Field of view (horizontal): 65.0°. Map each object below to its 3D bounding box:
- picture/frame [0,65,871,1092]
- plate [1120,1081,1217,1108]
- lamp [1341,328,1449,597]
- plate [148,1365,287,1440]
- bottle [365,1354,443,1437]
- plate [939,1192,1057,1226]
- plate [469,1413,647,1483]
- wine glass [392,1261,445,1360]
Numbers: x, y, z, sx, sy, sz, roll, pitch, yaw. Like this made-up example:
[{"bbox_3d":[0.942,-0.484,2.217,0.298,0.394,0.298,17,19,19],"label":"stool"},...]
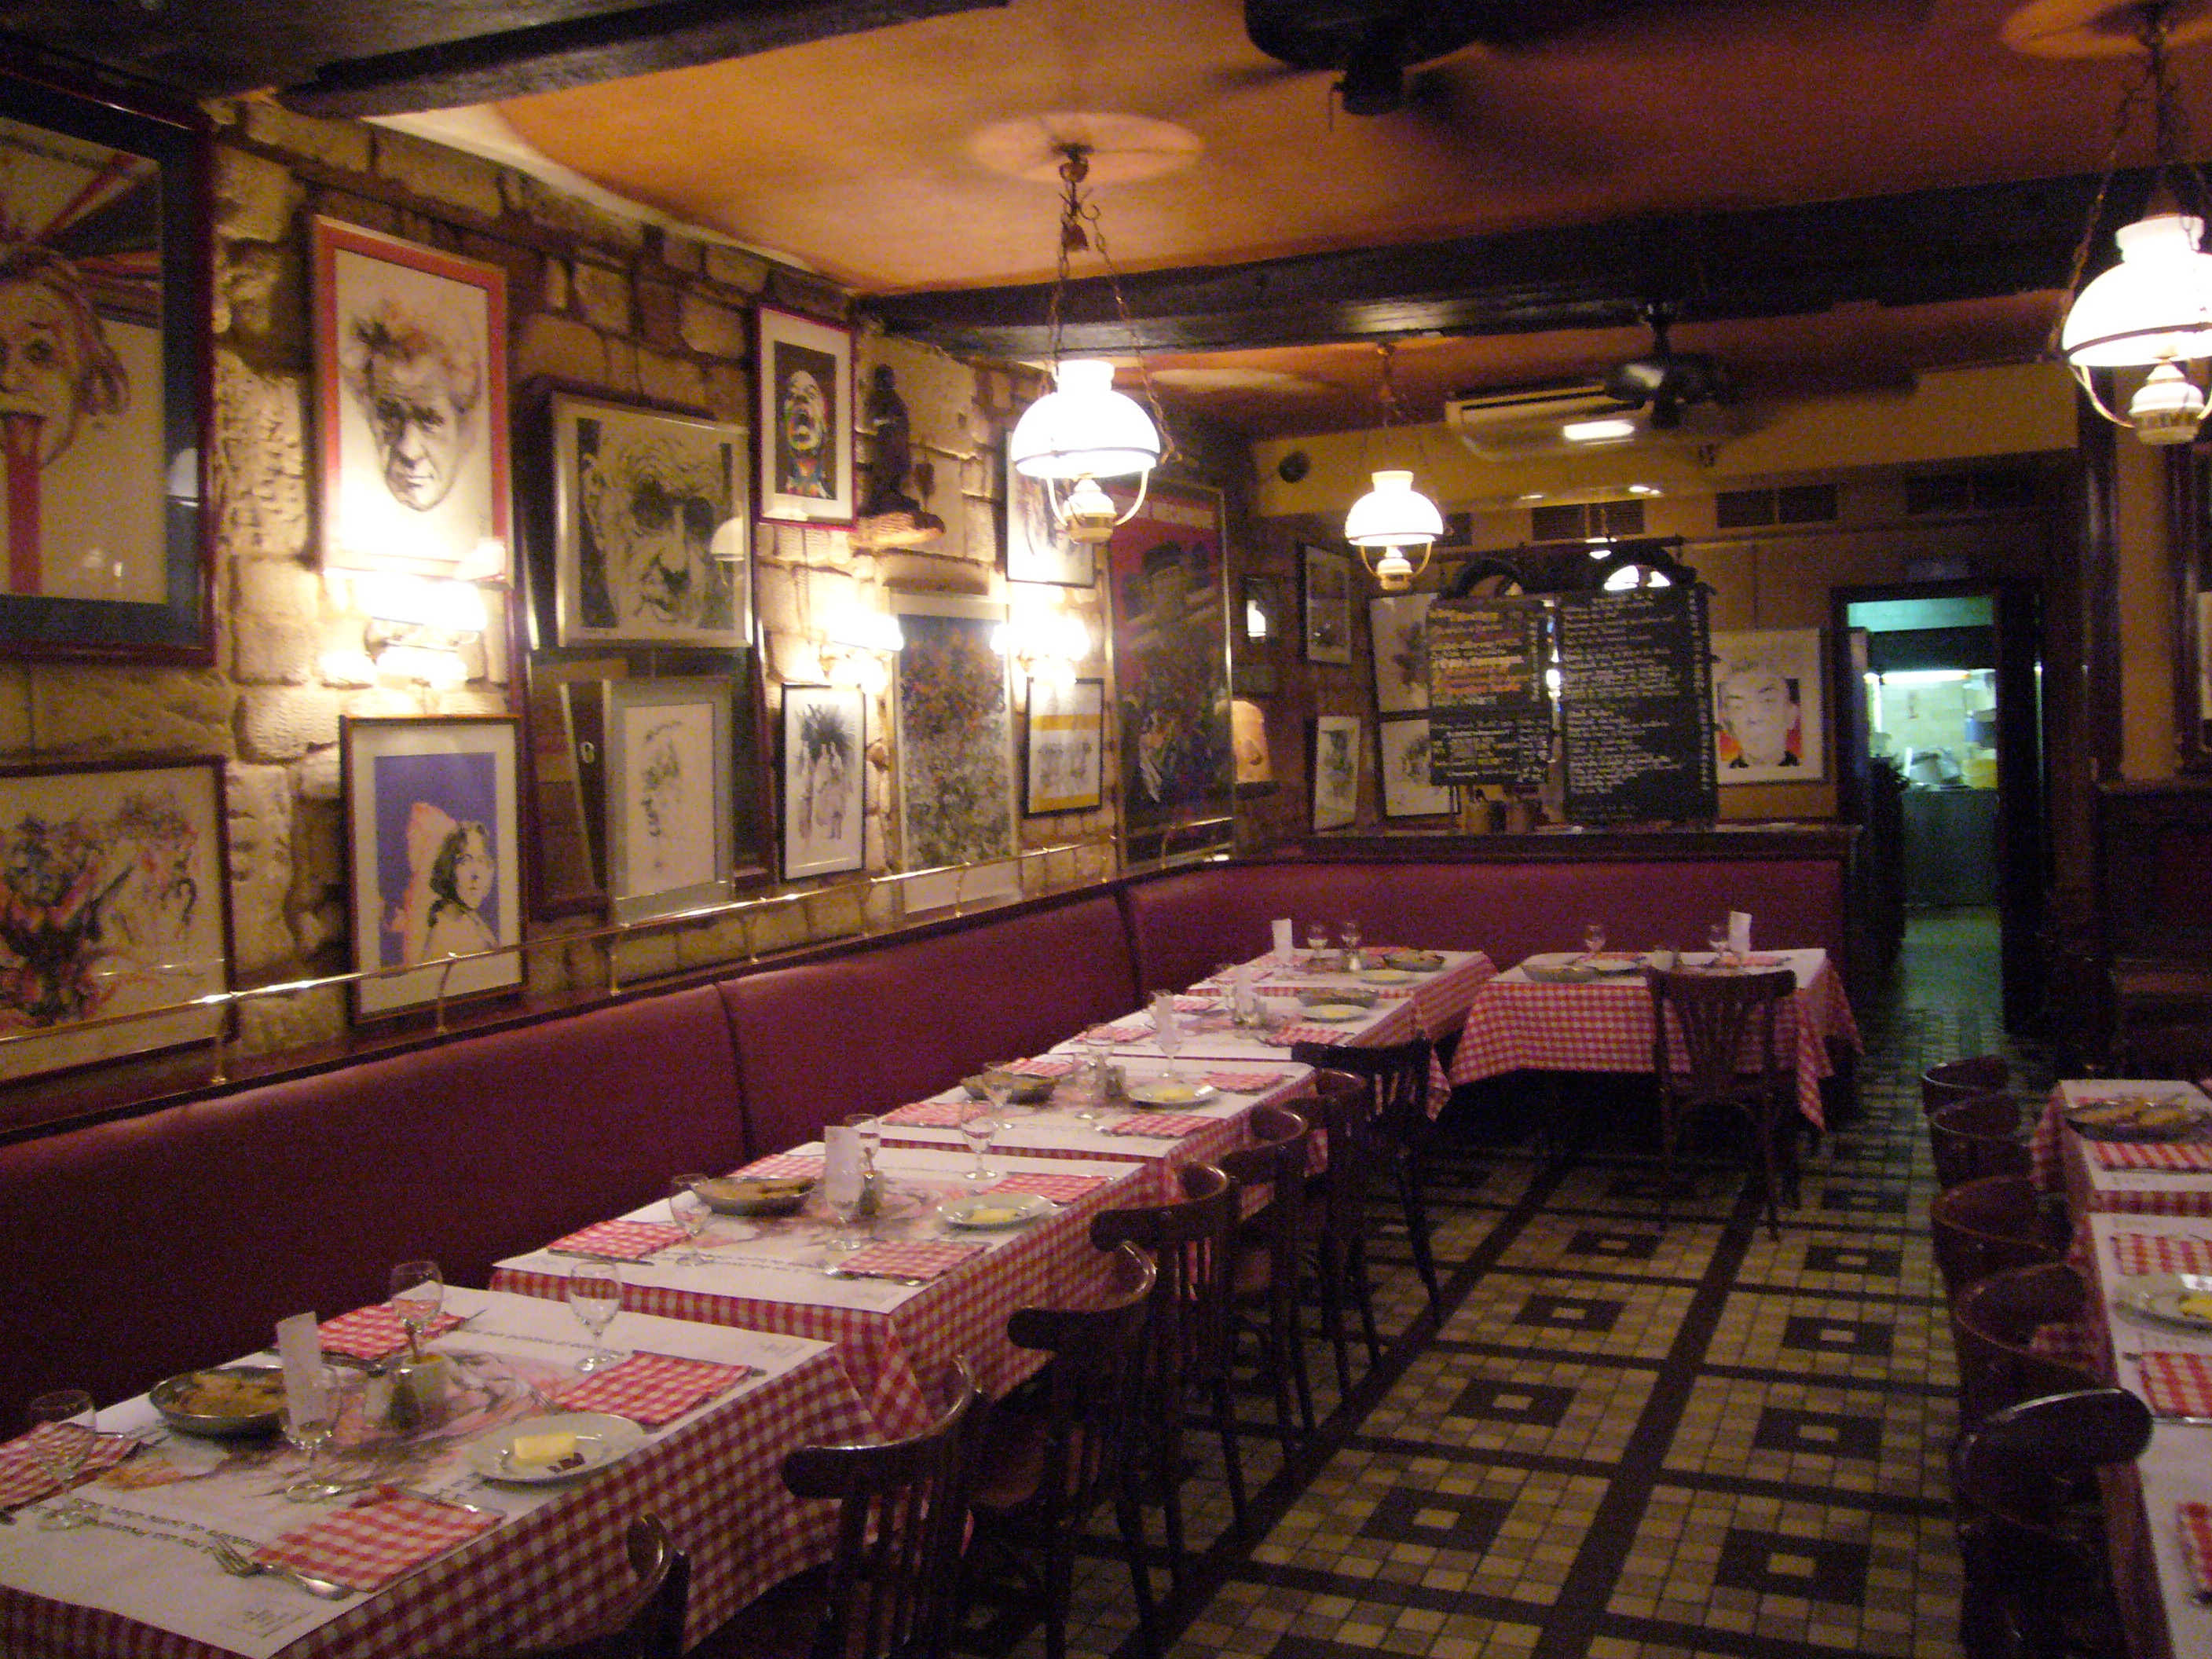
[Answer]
[{"bbox_3d":[-1.942,-0.798,4.917,0.222,2.279,2.351,1,6,26],"label":"picture/frame"},{"bbox_3d":[0.182,0.752,4.974,0.257,0.029,0.239,-2,6,-2],"label":"plate"},{"bbox_3d":[1.254,-1.647,7.645,0.610,1.040,0.621,-1,7,17],"label":"lamp"},{"bbox_3d":[-1.610,1.045,3.147,0.203,0.055,0.269,-5,7,-30],"label":"plate"},{"bbox_3d":[-1.244,1.001,3.120,0.118,0.104,0.169,-4,6,-23],"label":"bottle"},{"bbox_3d":[-0.253,0.870,3.958,0.256,0.036,0.177,-2,6,-2],"label":"plate"},{"bbox_3d":[-0.938,1.057,2.981,0.287,0.035,0.216,-2,6,-4],"label":"plate"},{"bbox_3d":[-1.313,0.915,3.308,0.082,0.206,0.349,-4,6,-21],"label":"wine glass"}]
